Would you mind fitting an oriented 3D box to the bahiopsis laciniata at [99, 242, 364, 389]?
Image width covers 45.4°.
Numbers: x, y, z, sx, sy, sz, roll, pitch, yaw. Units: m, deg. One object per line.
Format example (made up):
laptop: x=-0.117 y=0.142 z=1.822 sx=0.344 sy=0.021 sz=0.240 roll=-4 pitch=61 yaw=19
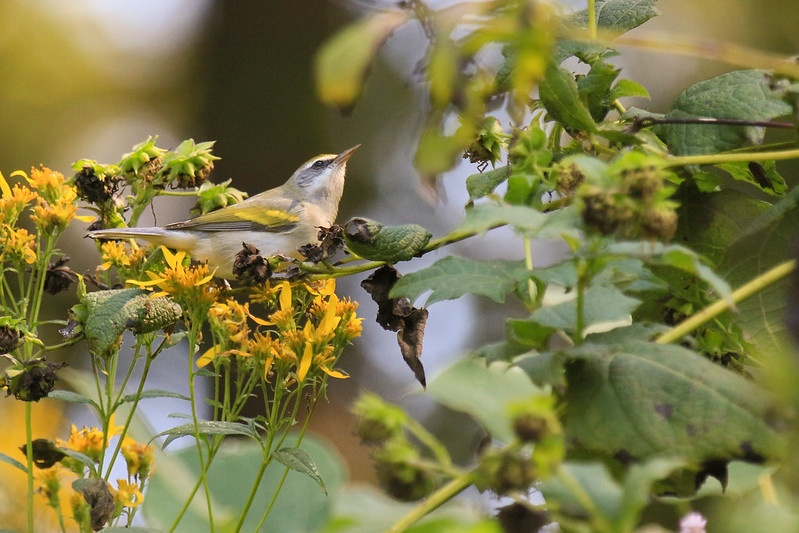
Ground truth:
bahiopsis laciniata: x=-0.391 y=0.018 z=2.368 sx=0.471 sy=0.425 sz=0.420 roll=-6 pitch=-81 yaw=-25
